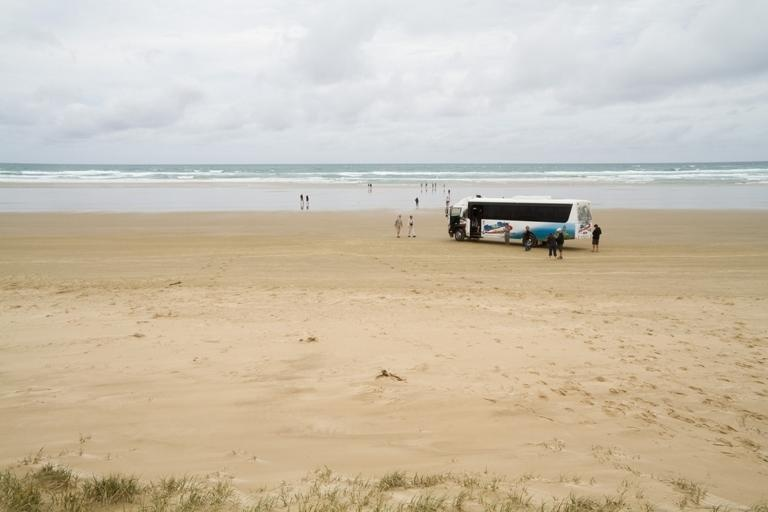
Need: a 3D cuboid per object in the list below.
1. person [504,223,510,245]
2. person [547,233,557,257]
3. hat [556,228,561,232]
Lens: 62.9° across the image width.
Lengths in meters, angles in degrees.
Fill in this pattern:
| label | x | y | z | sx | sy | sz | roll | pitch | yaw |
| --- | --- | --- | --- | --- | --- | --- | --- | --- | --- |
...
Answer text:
| label | x | y | z | sx | sy | sz | roll | pitch | yaw |
| --- | --- | --- | --- | --- | --- | --- | --- | --- | --- |
| person | 6.229 | -1.077 | 31.866 | 0.380 | 1.049 | 0.698 | 4 | 13 | 11 |
| person | 7.420 | -0.446 | 27.712 | 0.364 | 1.003 | 0.635 | 5 | 14 | 18 |
| hat | 8.183 | -1.194 | 29.461 | 0.341 | 0.127 | 0.419 | -1 | 8 | 11 |
